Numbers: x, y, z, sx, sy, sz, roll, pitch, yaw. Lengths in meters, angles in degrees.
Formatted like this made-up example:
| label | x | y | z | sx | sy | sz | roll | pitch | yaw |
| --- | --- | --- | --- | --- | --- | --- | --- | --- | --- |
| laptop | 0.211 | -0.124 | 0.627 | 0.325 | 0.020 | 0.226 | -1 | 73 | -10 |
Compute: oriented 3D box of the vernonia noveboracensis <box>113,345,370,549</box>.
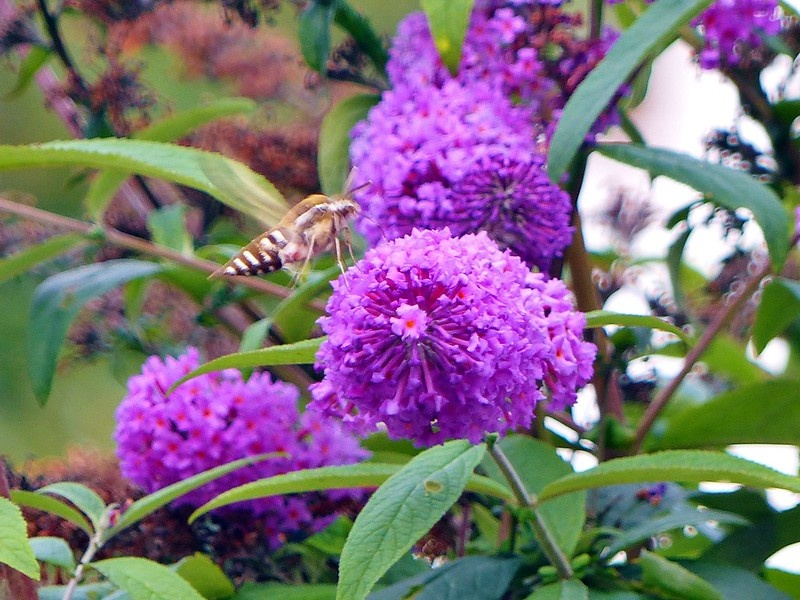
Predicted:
| label | x | y | z | sx | sy | sz | roll | pitch | yaw |
| --- | --- | --- | --- | --- | --- | --- | --- | --- | --- |
| vernonia noveboracensis | -0.340 | 0.263 | 2.556 | 0.487 | 0.428 | 0.277 | 33 | 47 | -37 |

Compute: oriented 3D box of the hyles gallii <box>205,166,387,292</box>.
| label | x | y | z | sx | sy | sz | roll | pitch | yaw |
| --- | --- | --- | --- | --- | --- | --- | --- | --- | --- |
| hyles gallii | -0.223 | -0.141 | 2.363 | 0.358 | 0.102 | 0.219 | -17 | 73 | 4 |

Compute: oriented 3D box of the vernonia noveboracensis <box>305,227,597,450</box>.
| label | x | y | z | sx | sy | sz | roll | pitch | yaw |
| --- | --- | --- | --- | --- | --- | --- | --- | --- | --- |
| vernonia noveboracensis | 0.080 | 0.035 | 2.126 | 0.454 | 0.349 | 0.401 | -7 | 29 | -18 |
